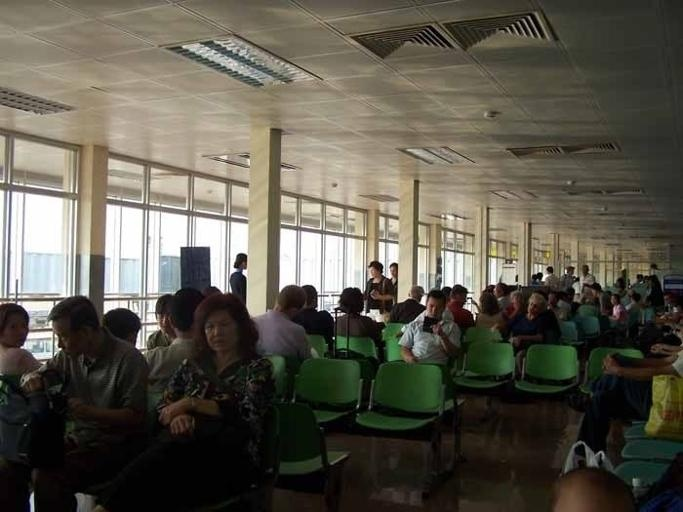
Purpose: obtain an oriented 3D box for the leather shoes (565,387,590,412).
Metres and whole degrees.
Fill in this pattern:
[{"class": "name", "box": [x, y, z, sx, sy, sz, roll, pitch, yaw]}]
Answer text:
[{"class": "leather shoes", "box": [2.279, 1.400, 5.405, 0.150, 0.174, 0.440, -8, -19, 14]}]
